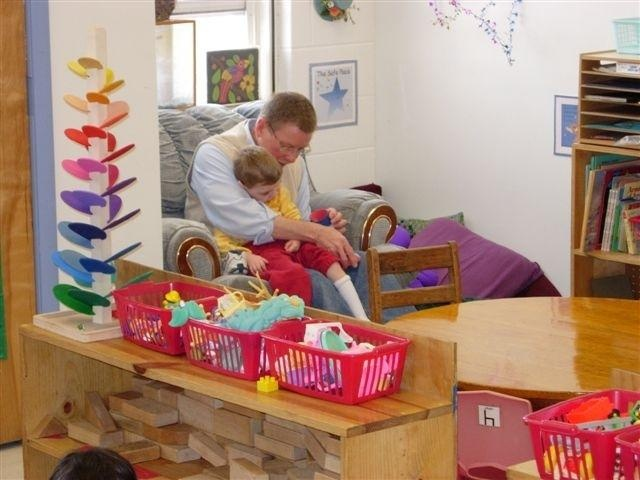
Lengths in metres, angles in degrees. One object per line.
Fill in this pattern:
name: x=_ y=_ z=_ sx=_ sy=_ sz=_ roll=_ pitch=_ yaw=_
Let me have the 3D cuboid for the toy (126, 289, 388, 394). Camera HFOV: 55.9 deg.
toy: x=-0.315 y=0.227 z=1.600 sx=0.467 sy=0.142 sz=0.227 roll=6 pitch=11 yaw=42

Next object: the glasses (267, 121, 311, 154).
glasses: x=-0.119 y=-0.501 z=2.906 sx=0.207 sy=0.058 sz=0.210 roll=24 pitch=-27 yaw=-27

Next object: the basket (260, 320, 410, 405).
basket: x=0.030 y=0.271 z=1.379 sx=0.308 sy=0.141 sz=0.208 roll=5 pitch=6 yaw=41

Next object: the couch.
couch: x=-0.163 y=-0.190 z=3.134 sx=0.723 sy=1.109 sz=1.199 roll=-19 pitch=32 yaw=-41

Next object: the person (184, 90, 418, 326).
person: x=-0.098 y=-0.124 z=3.044 sx=0.646 sy=1.199 sz=1.214 roll=-25 pitch=38 yaw=-39

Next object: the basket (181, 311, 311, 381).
basket: x=-0.217 y=0.251 z=1.493 sx=0.189 sy=0.091 sz=0.135 roll=6 pitch=11 yaw=28

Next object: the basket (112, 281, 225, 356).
basket: x=-0.443 y=0.233 z=1.709 sx=0.268 sy=0.117 sz=0.211 roll=12 pitch=1 yaw=42
